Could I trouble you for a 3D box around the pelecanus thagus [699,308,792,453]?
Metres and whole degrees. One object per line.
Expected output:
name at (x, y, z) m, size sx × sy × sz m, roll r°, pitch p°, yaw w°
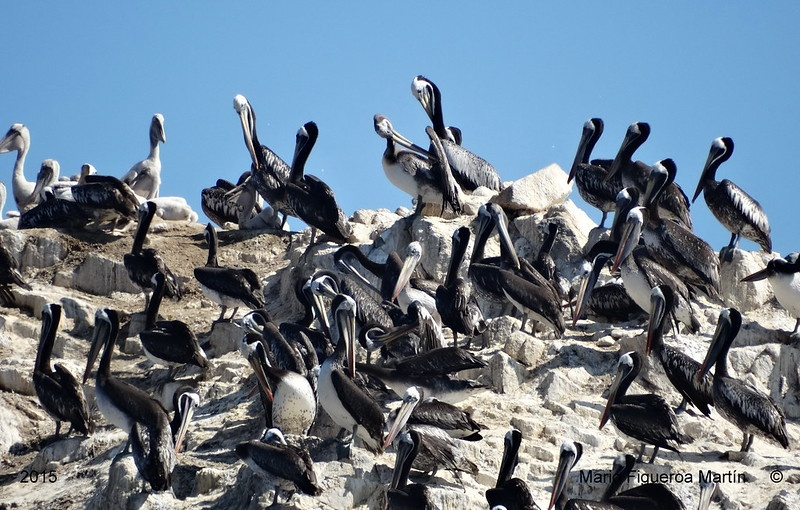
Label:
pelecanus thagus at (6.919, 2.518, 36.479) m, size 1.772 × 2.873 × 0.618 m, roll -2°, pitch -9°, yaw 37°
